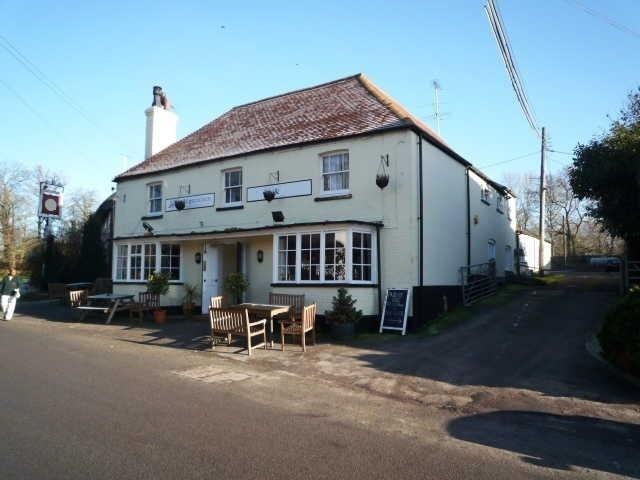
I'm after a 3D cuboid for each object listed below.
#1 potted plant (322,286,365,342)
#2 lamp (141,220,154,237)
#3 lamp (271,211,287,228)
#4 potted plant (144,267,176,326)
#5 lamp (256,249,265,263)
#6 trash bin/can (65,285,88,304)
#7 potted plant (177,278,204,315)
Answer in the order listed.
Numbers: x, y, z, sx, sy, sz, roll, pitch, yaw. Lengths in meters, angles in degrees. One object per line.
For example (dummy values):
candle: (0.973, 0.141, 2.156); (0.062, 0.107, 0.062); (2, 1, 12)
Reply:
potted plant: (0.679, 2.320, 16.458); (1.218, 1.799, 1.321); (1, -14, -2)
lamp: (-7.109, -0.445, 22.462); (0.480, 0.505, 1.292); (20, -3, -20)
lamp: (-1.456, -0.765, 18.624); (0.344, 0.494, 0.485); (-8, -36, 16)
potted plant: (-5.899, 2.139, 20.021); (1.142, 2.700, 1.169); (-4, -22, 1)
lamp: (-2.167, 0.581, 19.566); (0.236, 0.448, 0.093); (-2, -8, 19)
trash bin/can: (-9.946, 2.237, 22.119); (0.595, 0.655, 0.642); (-4, -9, 21)
potted plant: (-5.081, 2.275, 20.928); (0.766, 1.275, 0.608); (-3, -6, 18)
